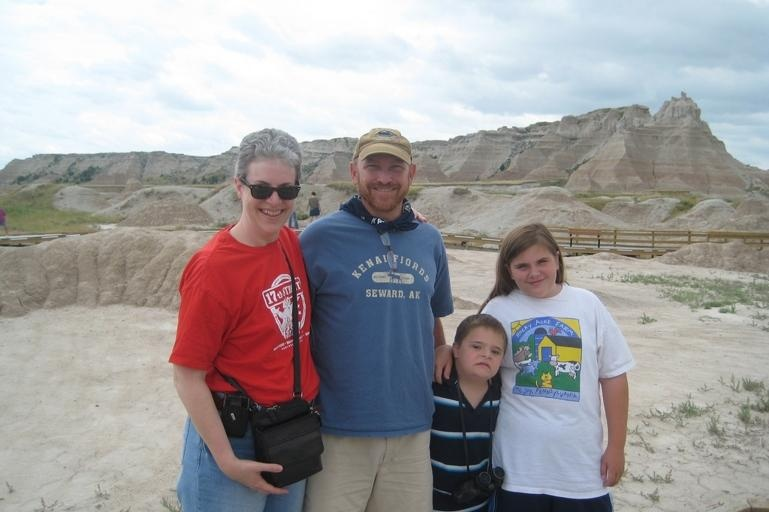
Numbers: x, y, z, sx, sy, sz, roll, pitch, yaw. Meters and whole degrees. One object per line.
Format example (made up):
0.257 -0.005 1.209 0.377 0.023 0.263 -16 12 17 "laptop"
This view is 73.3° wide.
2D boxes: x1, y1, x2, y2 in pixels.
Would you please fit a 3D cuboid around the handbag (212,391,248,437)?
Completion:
-1.463 1.519 4.901 0.337 0.424 0.102 0 11 7 "handbag"
